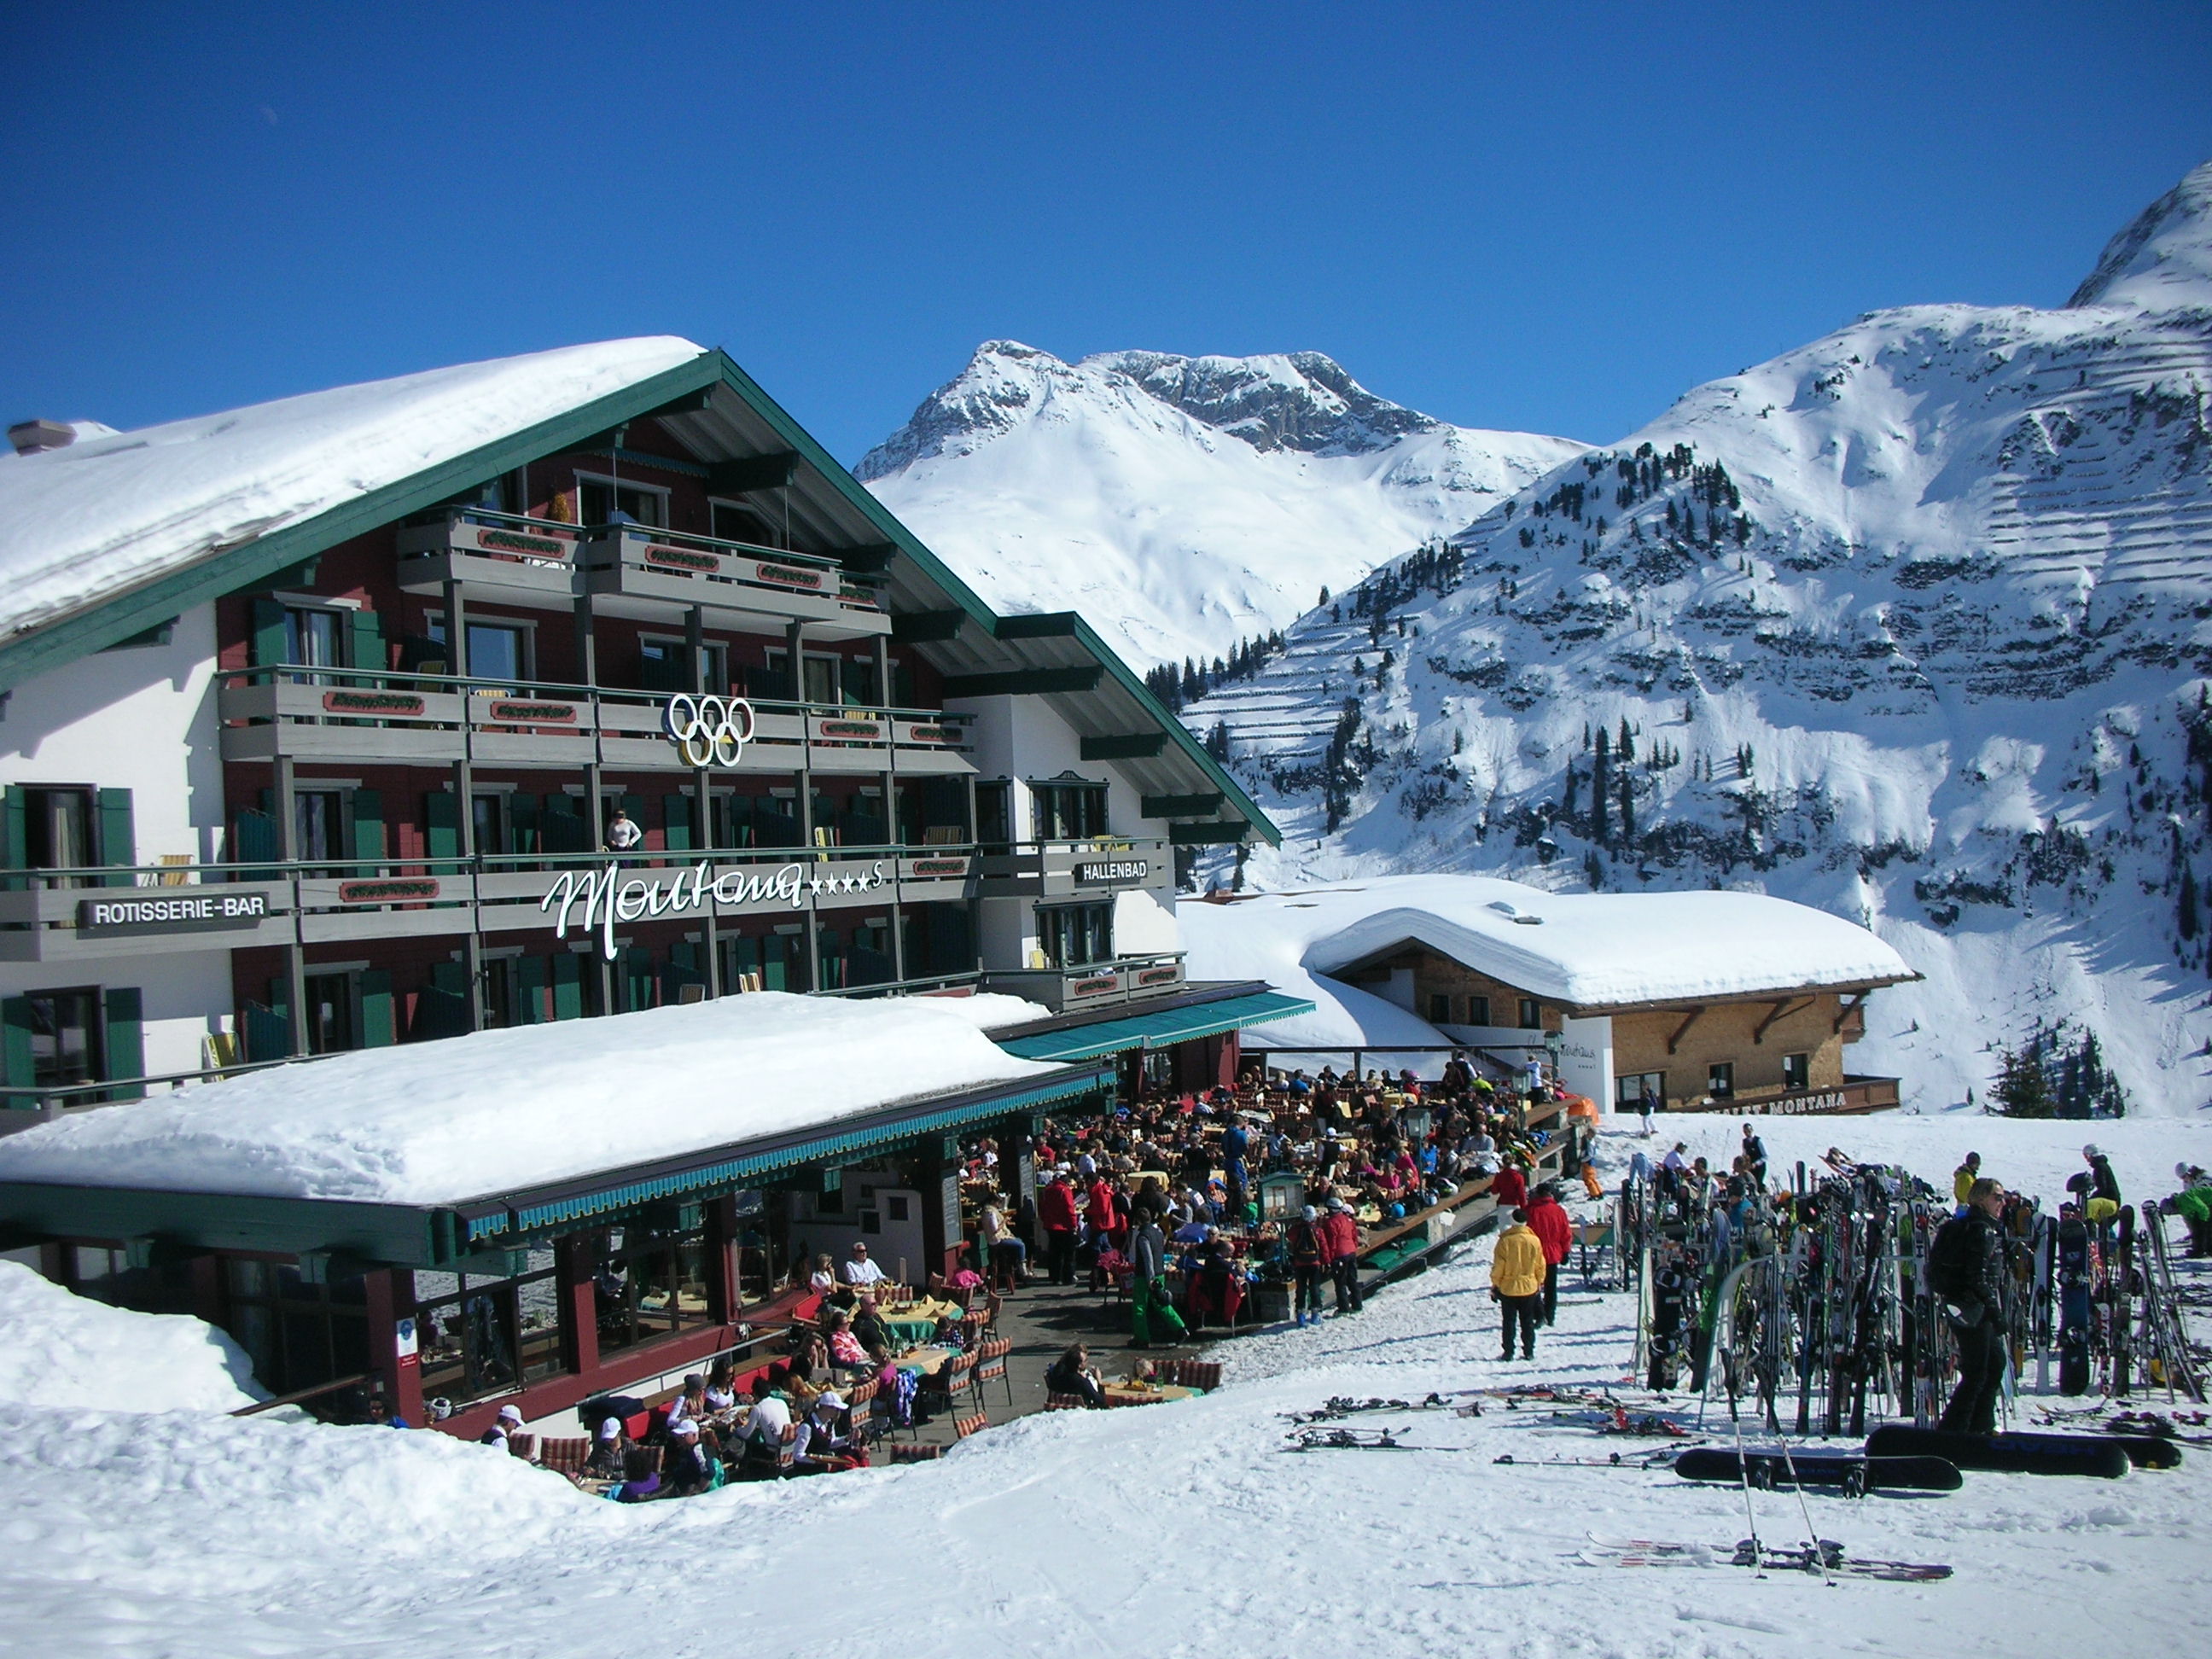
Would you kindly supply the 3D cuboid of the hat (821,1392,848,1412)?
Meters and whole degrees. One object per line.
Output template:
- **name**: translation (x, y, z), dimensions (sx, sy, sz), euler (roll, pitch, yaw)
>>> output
- **hat**: translation (-3.576, 7.596, 29.393), dimensions (0.306, 0.252, 0.476), euler (0, 4, 2)

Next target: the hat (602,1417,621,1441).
- **hat**: translation (-6.474, 7.907, 29.169), dimensions (0.195, 0.261, 0.265), euler (-2, -13, -11)
